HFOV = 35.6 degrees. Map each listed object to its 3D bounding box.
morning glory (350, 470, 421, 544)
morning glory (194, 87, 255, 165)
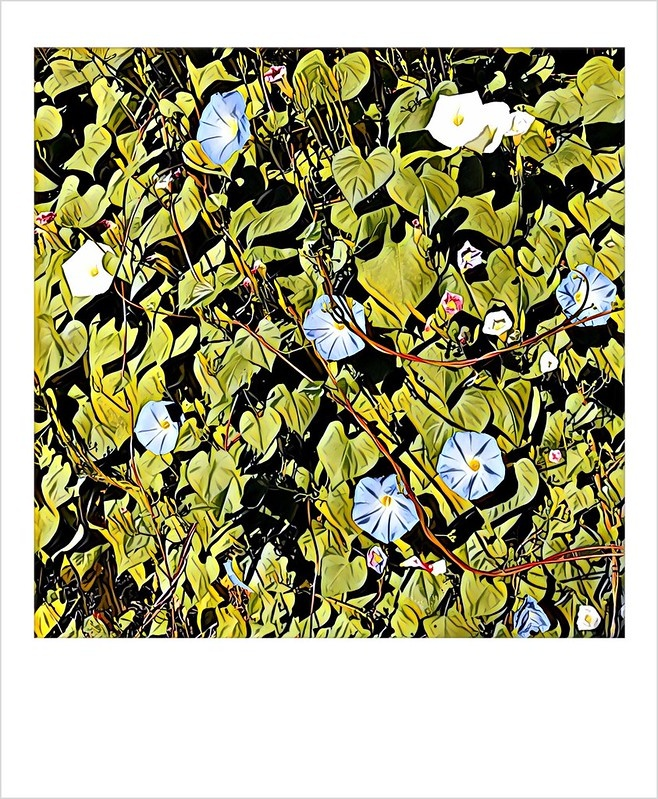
[{"bbox_3d":[0.125,0.221,2.214,0.134,0.183,0.048,4,-72,4],"label":"morning glory"},{"bbox_3d":[-0.226,-0.587,2.209,0.131,0.035,0.124,-35,-78,7],"label":"morning glory"}]
